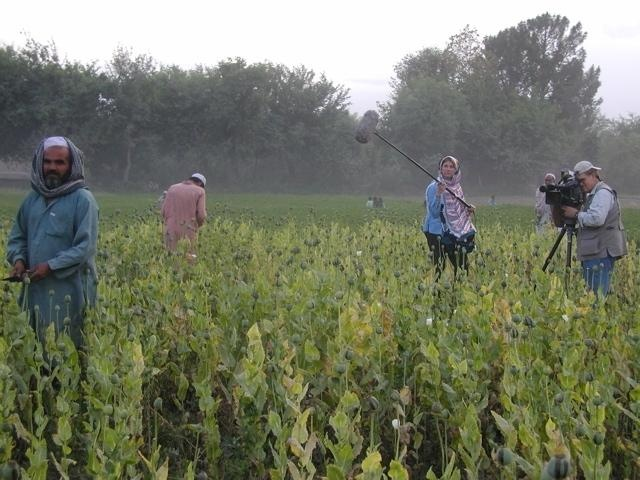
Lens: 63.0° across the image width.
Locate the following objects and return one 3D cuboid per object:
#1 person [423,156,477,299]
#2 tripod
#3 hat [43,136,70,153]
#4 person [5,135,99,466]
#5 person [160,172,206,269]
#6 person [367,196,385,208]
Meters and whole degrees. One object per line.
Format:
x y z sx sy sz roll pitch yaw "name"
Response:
1.875 -0.392 7.617 0.810 1.688 2.540 5 7 16 "person"
3.417 0.125 7.347 0.503 0.930 0.591 -18 25 -26 "tripod"
-2.236 -0.813 4.434 0.143 0.099 0.151 5 11 33 "hat"
-2.183 0.022 4.370 0.703 1.764 1.073 -3 8 -45 "person"
-2.351 -0.431 9.018 0.760 1.378 1.872 2 7 -14 "person"
2.598 -1.788 25.019 0.709 0.566 0.803 1 1 23 "person"
